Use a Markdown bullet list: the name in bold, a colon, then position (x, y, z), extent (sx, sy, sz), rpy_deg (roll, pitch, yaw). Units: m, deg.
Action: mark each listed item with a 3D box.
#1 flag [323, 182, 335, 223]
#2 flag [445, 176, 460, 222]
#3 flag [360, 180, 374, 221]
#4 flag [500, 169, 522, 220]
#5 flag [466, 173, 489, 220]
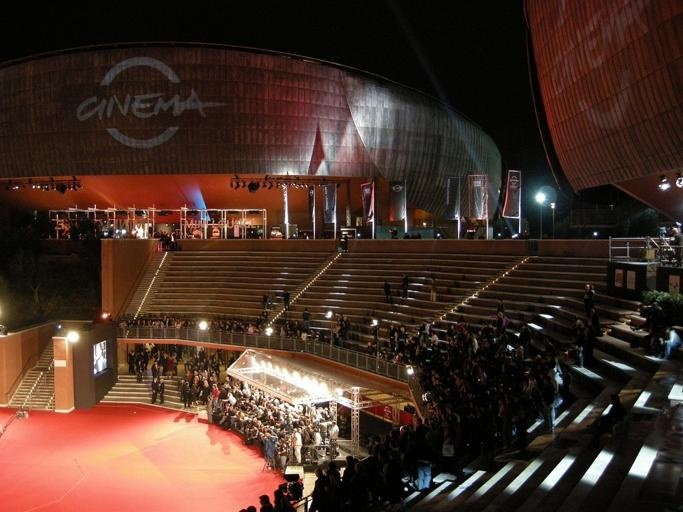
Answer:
- **flag**: position (-0.853, -3.987, 39.432), extent (0.774, 3.137, 1.901), rpy_deg (2, -4, -7)
- **flag**: position (7.929, -4.117, 37.464), extent (0.783, 3.741, 4.113), rpy_deg (1, -4, 10)
- **flag**: position (1.897, -3.758, 37.201), extent (0.800, 2.783, 1.974), rpy_deg (1, -4, 6)
- **flag**: position (10.704, -3.946, 33.237), extent (1.017, 3.241, 2.429), rpy_deg (0, -4, 16)
- **flag**: position (8.783, -3.774, 33.821), extent (1.140, 2.939, 1.211), rpy_deg (0, -4, 23)
